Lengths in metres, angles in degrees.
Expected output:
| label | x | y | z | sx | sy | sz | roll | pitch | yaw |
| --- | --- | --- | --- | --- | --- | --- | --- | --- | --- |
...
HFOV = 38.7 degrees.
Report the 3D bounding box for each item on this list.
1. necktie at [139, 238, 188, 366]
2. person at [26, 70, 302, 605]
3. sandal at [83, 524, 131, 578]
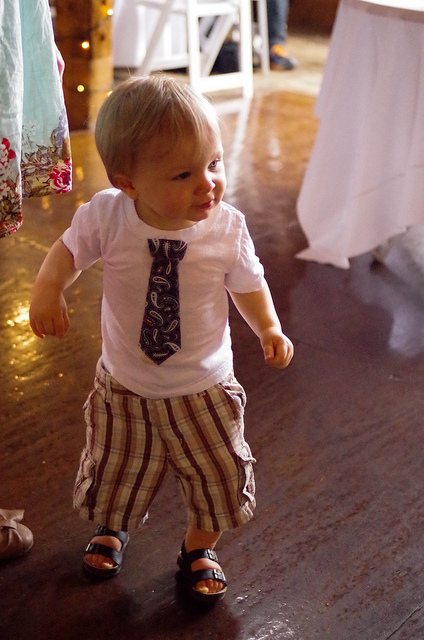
| label | x | y | z | sx | sy | sz | roll | pitch | yaw |
| --- | --- | --- | --- | --- | --- | --- | --- | --- | --- |
| necktie | -0.069 | -0.024 | 0.837 | 0.055 | 0.178 | 0.031 | 2 | 24 | -6 |
| person | -0.068 | 0.020 | 0.935 | 0.384 | 0.741 | 0.362 | 8 | 24 | 7 |
| sandal | -0.173 | 0.365 | 0.986 | 0.066 | 0.045 | 0.101 | 6 | 22 | 3 |
